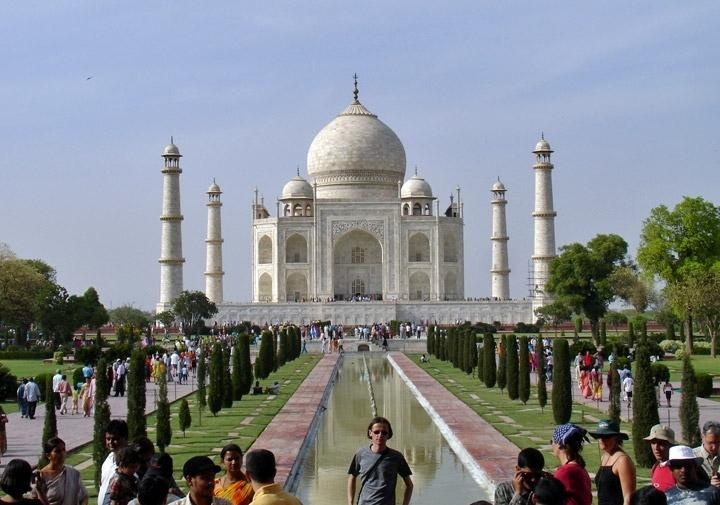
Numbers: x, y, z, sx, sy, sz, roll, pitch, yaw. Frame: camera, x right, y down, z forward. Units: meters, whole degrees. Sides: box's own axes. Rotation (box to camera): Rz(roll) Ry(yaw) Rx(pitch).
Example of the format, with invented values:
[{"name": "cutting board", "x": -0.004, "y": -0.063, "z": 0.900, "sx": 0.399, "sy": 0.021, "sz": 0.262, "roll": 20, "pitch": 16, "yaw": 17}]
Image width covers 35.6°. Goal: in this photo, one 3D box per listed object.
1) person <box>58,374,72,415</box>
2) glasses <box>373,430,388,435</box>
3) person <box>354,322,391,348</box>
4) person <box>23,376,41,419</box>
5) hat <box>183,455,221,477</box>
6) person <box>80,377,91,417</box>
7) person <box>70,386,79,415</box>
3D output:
[{"name": "person", "x": -7.043, "y": 3.377, "z": 26.761, "sx": 0.319, "sy": 0.920, "sz": 1.158, "roll": -1, "pitch": -5, "yaw": -15}, {"name": "glasses", "x": 0.284, "y": 2.422, "z": 15.031, "sx": 0.154, "sy": 0.064, "sz": 0.042, "roll": -1, "pitch": -5, "yaw": -13}, {"name": "person", "x": 0.642, "y": 3.543, "z": 47.999, "sx": 0.847, "sy": 0.691, "sz": 1.137, "roll": 2, "pitch": -2, "yaw": -28}, {"name": "person", "x": -7.495, "y": 3.307, "z": 25.521, "sx": 0.324, "sy": 0.906, "sz": 0.690, "roll": -1, "pitch": -5, "yaw": -16}, {"name": "hat", "x": -2.009, "y": 2.732, "z": 14.124, "sx": 0.361, "sy": 0.176, "sz": 0.266, "roll": -12, "pitch": -3, "yaw": 3}, {"name": "person", "x": -6.313, "y": 3.341, "z": 25.932, "sx": 0.211, "sy": 0.865, "sz": 0.816, "roll": -1, "pitch": -5, "yaw": -13}, {"name": "person", "x": -6.792, "y": 3.540, "z": 26.754, "sx": 0.198, "sy": 0.557, "sz": 0.729, "roll": -1, "pitch": -5, "yaw": -14}]
